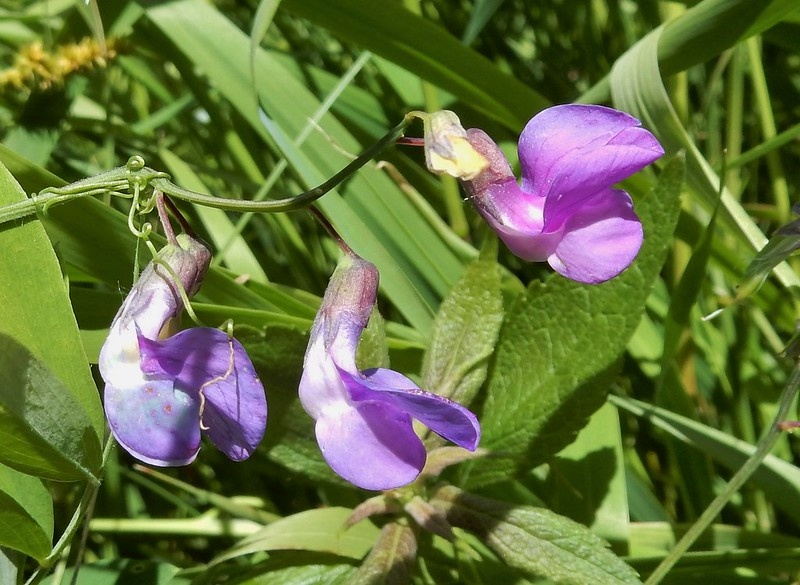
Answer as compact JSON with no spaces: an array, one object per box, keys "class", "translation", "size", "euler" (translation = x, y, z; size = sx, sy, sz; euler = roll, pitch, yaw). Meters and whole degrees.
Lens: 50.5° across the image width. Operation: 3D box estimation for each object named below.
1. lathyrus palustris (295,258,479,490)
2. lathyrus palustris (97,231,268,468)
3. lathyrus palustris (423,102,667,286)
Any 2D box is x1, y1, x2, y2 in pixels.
[{"class":"lathyrus palustris","translation":[-0.036,0.095,0.790],"size":[0.074,0.191,0.187],"euler":[-20,46,11]},{"class":"lathyrus palustris","translation":[-0.214,0.079,0.798],"size":[0.147,0.171,0.114],"euler":[24,31,39]},{"class":"lathyrus palustris","translation":[0.142,-0.088,0.844],"size":[0.191,0.124,0.170],"euler":[34,13,7]}]
